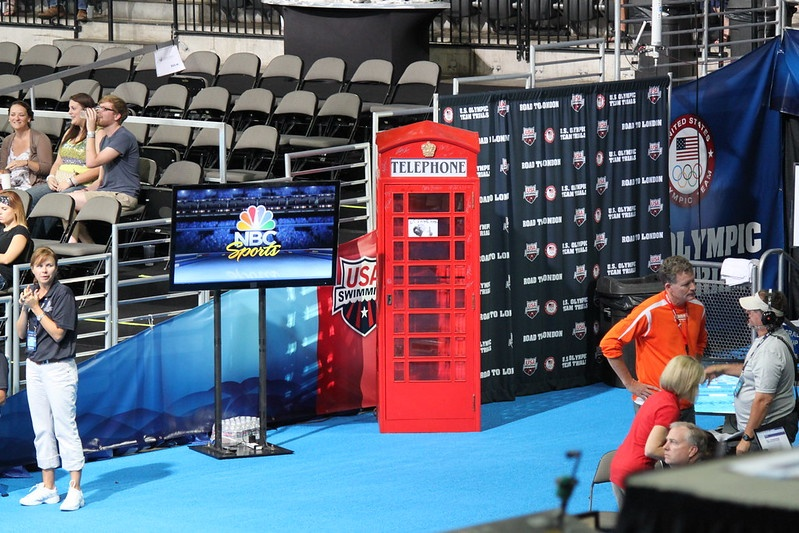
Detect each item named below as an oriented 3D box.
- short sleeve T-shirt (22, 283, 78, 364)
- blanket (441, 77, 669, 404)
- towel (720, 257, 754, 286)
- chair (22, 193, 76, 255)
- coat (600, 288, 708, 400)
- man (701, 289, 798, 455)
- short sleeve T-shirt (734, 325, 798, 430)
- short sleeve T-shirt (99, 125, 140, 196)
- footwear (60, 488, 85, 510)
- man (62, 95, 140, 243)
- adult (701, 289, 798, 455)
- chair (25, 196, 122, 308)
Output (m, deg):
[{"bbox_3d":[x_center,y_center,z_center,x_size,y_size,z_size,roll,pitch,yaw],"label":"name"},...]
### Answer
[{"bbox_3d":[-3.845,0.651,15.797,0.848,0.850,0.482,-8,-7,39],"label":"short sleeve T-shirt"},{"bbox_3d":[1.895,-0.276,18.220,4.068,4.866,0.471,-6,11,-23],"label":"blanket"},{"bbox_3d":[4.137,0.039,17.455,0.372,0.325,0.318,7,10,38],"label":"towel"},{"bbox_3d":[-4.503,-0.632,18.877,0.602,0.942,0.777,3,9,17],"label":"chair"},{"bbox_3d":[2.887,0.831,16.008,1.465,1.137,0.505,-5,11,-25],"label":"coat"},{"bbox_3d":[3.937,1.104,15.375,0.642,1.669,0.616,0,5,13],"label":"man"},{"bbox_3d":[3.988,1.236,15.565,0.616,1.074,1.009,2,14,22],"label":"short sleeve T-shirt"},{"bbox_3d":[-3.841,-1.395,19.327,0.619,1.012,0.913,-1,0,-31],"label":"short sleeve T-shirt"},{"bbox_3d":[-3.560,2.544,15.656,0.158,0.175,0.310,0,0,8],"label":"footwear"},{"bbox_3d":[-4.086,-1.187,19.208,1.222,2.214,0.976,-3,8,-29],"label":"man"},{"bbox_3d":[3.933,1.104,15.376,0.640,1.669,0.624,0,5,14],"label":"adult"},{"bbox_3d":[-4.103,-0.258,18.521,0.826,1.273,1.053,8,12,39],"label":"chair"}]
